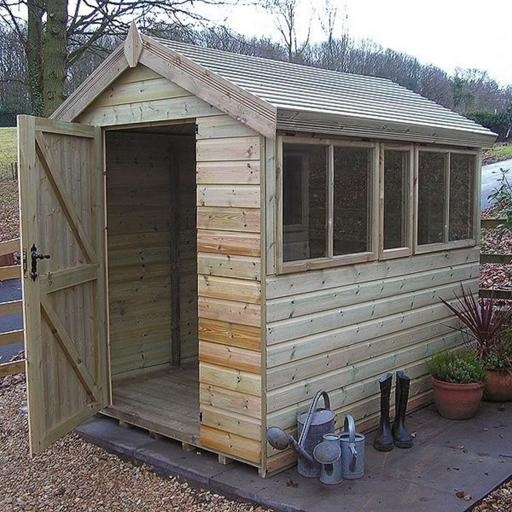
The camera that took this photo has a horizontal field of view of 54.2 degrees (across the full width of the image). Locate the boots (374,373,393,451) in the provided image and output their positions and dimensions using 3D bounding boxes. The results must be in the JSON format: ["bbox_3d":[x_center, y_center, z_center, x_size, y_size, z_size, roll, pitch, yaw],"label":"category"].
[{"bbox_3d":[1.008,1.212,3.910,0.140,0.523,0.232,3,1,14],"label":"boots"}]

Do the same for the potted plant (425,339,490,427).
[{"bbox_3d":[1.792,1.143,4.460,0.665,0.600,0.552,-1,-2,-4],"label":"potted plant"}]
